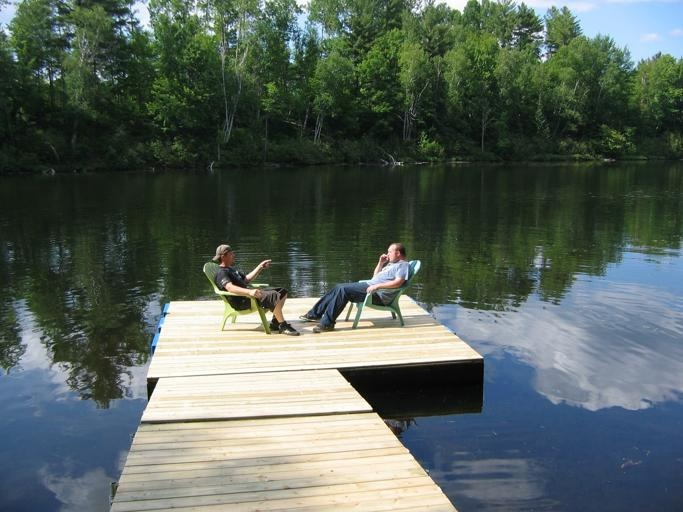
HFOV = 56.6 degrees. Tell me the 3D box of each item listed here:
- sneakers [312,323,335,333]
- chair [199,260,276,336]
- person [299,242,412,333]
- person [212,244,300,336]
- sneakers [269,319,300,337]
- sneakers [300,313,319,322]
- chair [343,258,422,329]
[{"bbox_3d":[-0.289,1.144,10.103,0.363,0.143,0.127,1,1,-14],"label":"sneakers"},{"bbox_3d":[-1.593,0.661,10.255,1.115,0.898,0.965,-1,14,-14],"label":"chair"},{"bbox_3d":[0.241,0.496,10.284,1.745,1.080,0.957,-6,18,-18],"label":"person"},{"bbox_3d":[-1.398,0.512,10.052,1.131,1.352,1.006,-4,8,-19],"label":"person"},{"bbox_3d":[-0.903,1.114,9.937,0.543,0.155,0.199,5,5,42],"label":"sneakers"},{"bbox_3d":[-0.536,1.017,10.389,0.375,0.149,0.122,6,1,0],"label":"sneakers"},{"bbox_3d":[0.704,0.588,10.492,1.190,0.926,0.920,0,18,13],"label":"chair"}]
